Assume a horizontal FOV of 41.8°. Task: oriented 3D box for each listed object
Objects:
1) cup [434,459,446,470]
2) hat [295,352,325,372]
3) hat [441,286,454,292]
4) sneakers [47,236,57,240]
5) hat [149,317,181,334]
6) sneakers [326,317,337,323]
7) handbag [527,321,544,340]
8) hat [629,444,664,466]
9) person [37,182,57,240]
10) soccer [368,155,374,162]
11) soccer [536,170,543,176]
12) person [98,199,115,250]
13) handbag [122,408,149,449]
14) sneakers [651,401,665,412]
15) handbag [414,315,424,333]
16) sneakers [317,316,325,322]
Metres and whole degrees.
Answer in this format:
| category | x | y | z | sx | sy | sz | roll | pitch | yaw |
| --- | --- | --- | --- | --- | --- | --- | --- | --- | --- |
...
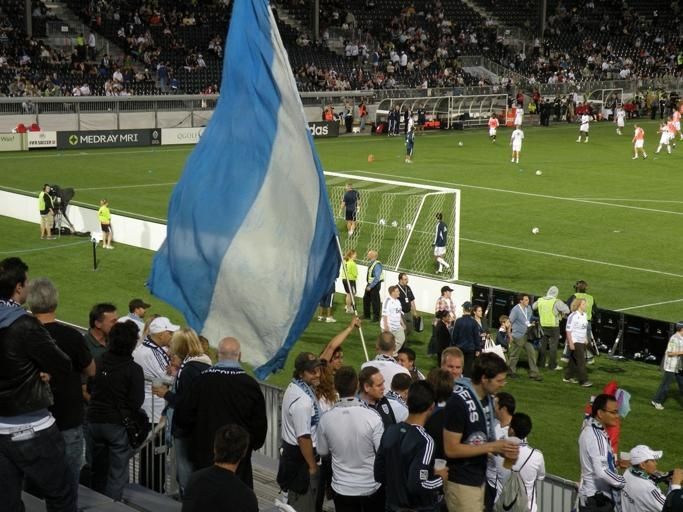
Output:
| category | x | y | z | sx | sy | sz | roll | pitch | yaw |
| --- | --- | --- | --- | --- | --- | --- | --- | --- | --- |
| cup | 0.934 | 1.946 | 8.457 | 0.106 | 0.097 | 0.121 | 4 | 6 | 1 |
| hat | -0.358 | 1.147 | 9.817 | 0.249 | 0.159 | 0.192 | -5 | 5 | 24 |
| hat | 2.099 | 0.666 | 17.779 | 0.199 | 0.118 | 0.154 | 0 | 9 | 18 |
| sneakers | -8.624 | -0.573 | 26.727 | 0.236 | 0.114 | 0.088 | -3 | 16 | 6 |
| hat | -2.229 | 0.897 | 11.314 | 0.379 | 0.164 | 0.273 | -2 | 12 | -22 |
| sneakers | -0.232 | 1.408 | 20.114 | 0.207 | 0.111 | 0.100 | -3 | 9 | 15 |
| handbag | 3.682 | 1.395 | 17.036 | 0.169 | 0.379 | 0.296 | -7 | 9 | -22 |
| hat | 3.357 | 2.170 | 9.823 | 0.314 | 0.181 | 0.224 | -21 | 6 | 7 |
| person | -8.739 | -1.340 | 26.541 | 0.417 | 1.596 | 1.195 | 1 | 6 | -18 |
| soccer | 1.375 | -4.463 | 40.740 | 0.258 | 0.309 | 0.367 | -6 | 9 | -14 |
| soccer | 8.393 | -3.551 | 38.018 | 0.260 | 0.166 | 0.271 | -5 | 9 | -36 |
| person | -6.734 | -0.960 | 25.713 | 0.416 | 1.423 | 1.378 | 2 | 6 | -15 |
| handbag | -2.256 | 1.888 | 9.912 | 0.309 | 0.390 | 0.136 | -4 | 1 | -37 |
| sneakers | 5.525 | 2.555 | 15.591 | 0.181 | 0.135 | 0.277 | 4 | 7 | 7 |
| handbag | 1.636 | 1.424 | 18.980 | 0.144 | 0.394 | 0.371 | -4 | 6 | -27 |
| sneakers | -0.454 | 1.394 | 20.237 | 0.093 | 0.091 | 0.199 | 1 | 0 | 6 |
